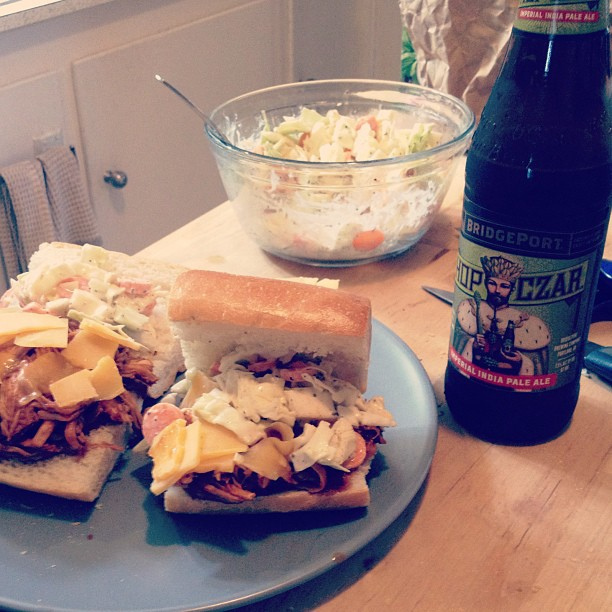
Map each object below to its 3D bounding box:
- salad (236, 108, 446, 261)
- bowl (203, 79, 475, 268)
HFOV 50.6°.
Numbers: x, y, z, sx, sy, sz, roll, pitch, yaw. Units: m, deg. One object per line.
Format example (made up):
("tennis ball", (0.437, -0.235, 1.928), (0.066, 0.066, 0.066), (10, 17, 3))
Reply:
("salad", (0.102, -0.283, 1.509), (0.407, 0.276, 0.422), (19, 41, 28))
("bowl", (0.060, -0.313, 1.562), (0.632, 0.230, 0.612), (-2, 30, 1))
